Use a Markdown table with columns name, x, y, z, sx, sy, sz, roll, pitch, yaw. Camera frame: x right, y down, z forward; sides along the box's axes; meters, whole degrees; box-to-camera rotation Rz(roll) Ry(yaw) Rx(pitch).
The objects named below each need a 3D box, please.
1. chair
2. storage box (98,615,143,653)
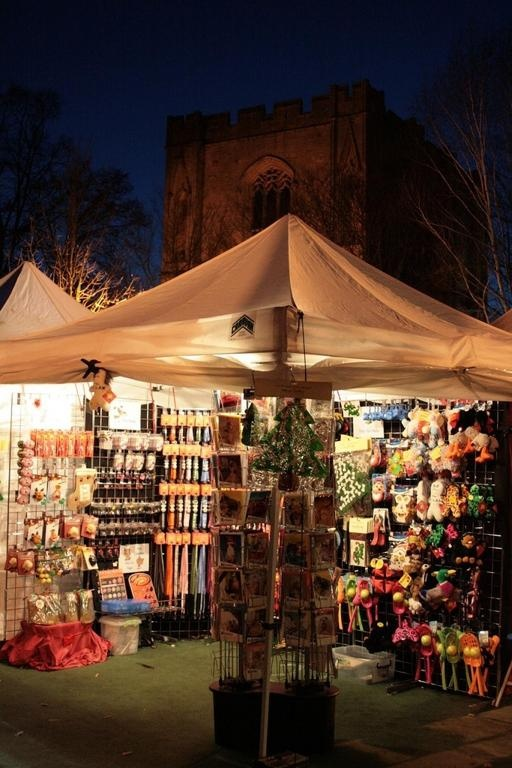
| name | x | y | z | sx | sy | sz | roll | pitch | yaw |
| --- | --- | --- | --- | --- | --- | --- | --- | --- | --- |
| chair | -1.003 | 2.142 | 7.004 | 0.470 | 0.656 | 0.709 | -3 | -10 | 23 |
| storage box | -1.180 | 2.228 | 6.508 | 0.343 | 0.309 | 0.310 | 1 | -5 | -10 |
